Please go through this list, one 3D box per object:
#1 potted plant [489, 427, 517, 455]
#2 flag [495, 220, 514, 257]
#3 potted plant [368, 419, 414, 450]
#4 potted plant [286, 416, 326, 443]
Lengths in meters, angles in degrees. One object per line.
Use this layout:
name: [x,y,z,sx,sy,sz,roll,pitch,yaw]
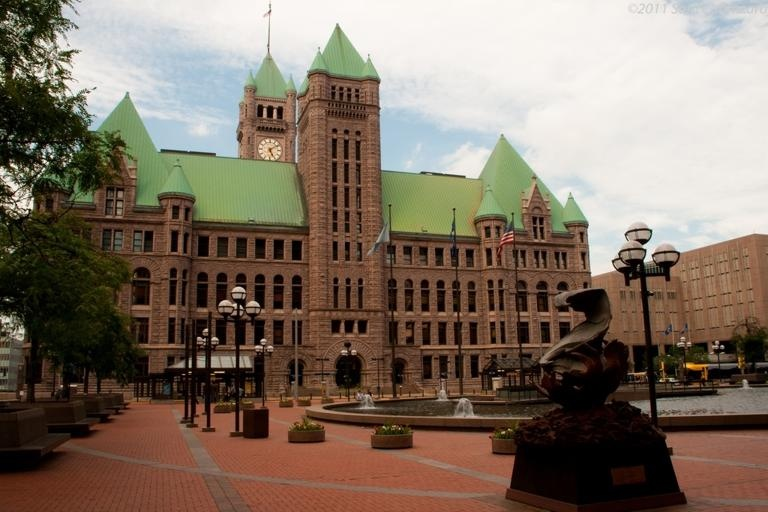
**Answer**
potted plant: [4.038,6.299,23.993,0.756,0.843,0.762,-2,-12,6]
flag: [12.605,-1.872,74.523,0.536,4.588,3.591,21,13,4]
potted plant: [0.294,6.522,25.548,1.071,0.573,1.049,-9,-16,32]
potted plant: [-2.969,6.861,27.863,1.153,0.703,1.070,1,-14,-1]
